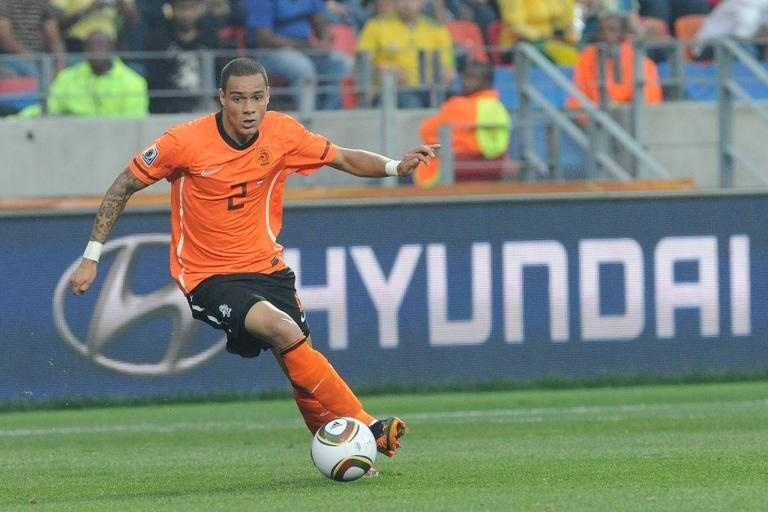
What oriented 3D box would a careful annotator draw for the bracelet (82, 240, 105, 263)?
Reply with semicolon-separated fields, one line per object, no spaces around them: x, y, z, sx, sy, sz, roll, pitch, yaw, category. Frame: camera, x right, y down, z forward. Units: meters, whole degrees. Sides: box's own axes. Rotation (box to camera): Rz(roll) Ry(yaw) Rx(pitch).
-2.057;-0.026;12.265;0.144;0.133;0.134;-9;50;46;bracelet

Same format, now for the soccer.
-0.301;1.302;11.858;0.467;0.379;0.415;-1;-9;-3;soccer

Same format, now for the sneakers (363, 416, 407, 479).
-0.014;1.348;12.000;0.257;0.471;0.190;10;-8;-5;sneakers
